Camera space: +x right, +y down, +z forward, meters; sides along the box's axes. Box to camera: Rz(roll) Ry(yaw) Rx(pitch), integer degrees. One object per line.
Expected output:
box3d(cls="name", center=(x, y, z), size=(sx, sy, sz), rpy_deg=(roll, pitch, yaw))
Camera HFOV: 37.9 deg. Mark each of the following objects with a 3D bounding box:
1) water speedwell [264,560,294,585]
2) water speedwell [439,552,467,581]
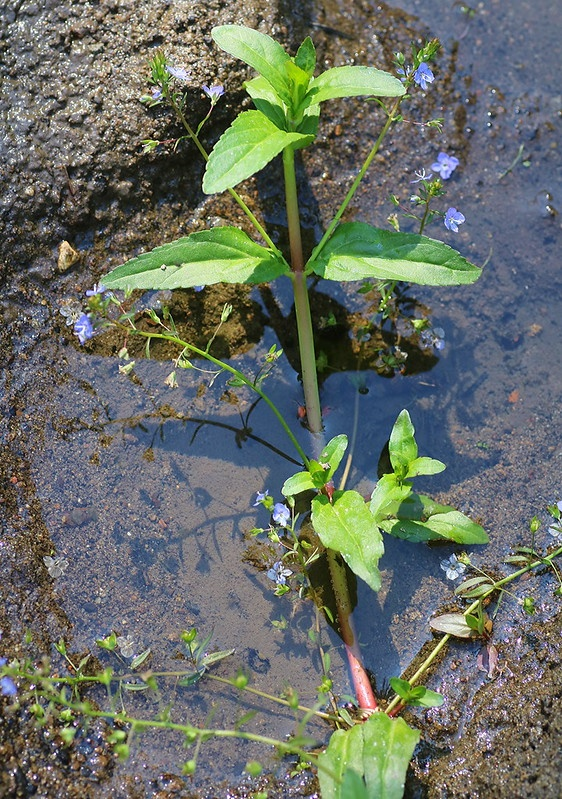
box3d(cls="water speedwell", center=(-0.010, 0.826, 3.880), size=(0.141, 0.041, 0.130), rpy_deg=(-20, 85, 10))
box3d(cls="water speedwell", center=(0.860, 0.843, 4.075), size=(0.115, 0.140, 0.118), rpy_deg=(-34, 74, -6))
